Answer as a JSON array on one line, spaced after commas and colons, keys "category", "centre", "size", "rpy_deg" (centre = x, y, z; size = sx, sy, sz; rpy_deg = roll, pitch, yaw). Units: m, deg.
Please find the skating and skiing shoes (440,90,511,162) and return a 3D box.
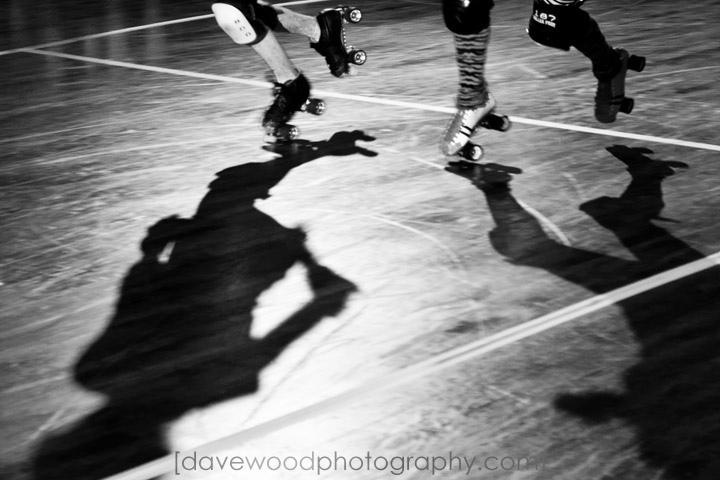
[{"category": "skating and skiing shoes", "centre": [0.568, -0.621, 2.975], "size": [0.289, 0.204, 0.406], "rpy_deg": [22, 60, 25]}]
